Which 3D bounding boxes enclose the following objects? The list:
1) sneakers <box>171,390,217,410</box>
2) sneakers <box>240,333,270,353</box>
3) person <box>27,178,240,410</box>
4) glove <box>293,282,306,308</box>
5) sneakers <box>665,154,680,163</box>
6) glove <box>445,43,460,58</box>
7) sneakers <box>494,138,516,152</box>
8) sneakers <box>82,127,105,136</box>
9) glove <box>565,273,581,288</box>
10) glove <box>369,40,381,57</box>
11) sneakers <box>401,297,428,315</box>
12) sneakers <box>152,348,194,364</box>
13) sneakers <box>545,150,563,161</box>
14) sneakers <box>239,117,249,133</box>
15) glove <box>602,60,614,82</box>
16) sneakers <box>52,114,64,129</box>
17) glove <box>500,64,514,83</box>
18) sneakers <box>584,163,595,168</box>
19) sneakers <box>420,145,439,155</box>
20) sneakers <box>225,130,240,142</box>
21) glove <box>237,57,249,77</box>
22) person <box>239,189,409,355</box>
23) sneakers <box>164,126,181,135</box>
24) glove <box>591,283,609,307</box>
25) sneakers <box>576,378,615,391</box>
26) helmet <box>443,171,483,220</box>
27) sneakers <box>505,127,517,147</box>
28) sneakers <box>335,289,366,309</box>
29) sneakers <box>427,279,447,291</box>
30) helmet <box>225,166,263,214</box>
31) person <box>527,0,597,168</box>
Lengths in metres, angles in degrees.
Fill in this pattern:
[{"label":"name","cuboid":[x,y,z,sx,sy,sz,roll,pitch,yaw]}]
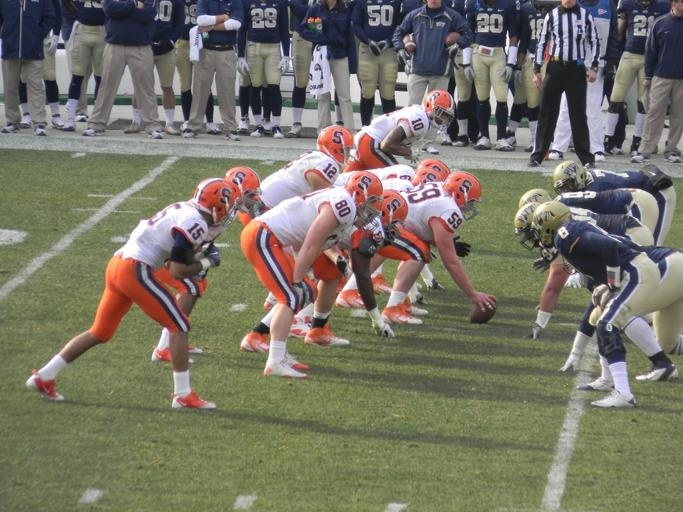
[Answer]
[{"label":"sneakers","cuboid":[-1.022,0.997,7.151,0.341,0.146,0.118,0,0,-5]},{"label":"sneakers","cuboid":[-0.661,0.676,7.950,0.286,0.132,0.106,7,34,-25]},{"label":"person","cuboid":[-1.370,0.227,7.173,1.199,1.554,0.446,3,8,0]},{"label":"glove","cuboid":[-0.294,0.287,7.596,0.047,0.166,0.094,-12,2,28]},{"label":"sneakers","cuboid":[4.144,-1.211,12.896,0.080,0.085,0.186,-5,5,-23]},{"label":"glove","cuboid":[1.407,-2.579,12.989,0.071,0.173,0.122,6,25,-47]},{"label":"sneakers","cuboid":[2.153,-1.444,13.487,0.113,0.132,0.296,-2,5,-22]},{"label":"sneakers","cuboid":[-3.228,-1.593,13.419,0.102,0.141,0.317,1,-3,18]},{"label":"glove","cuboid":[2.096,0.236,9.252,0.159,0.084,0.243,0,-9,5]},{"label":"glove","cuboid":[0.432,-2.656,13.167,0.146,0.189,0.162,8,10,27]},{"label":"sneakers","cuboid":[0.624,0.428,8.831,0.261,0.189,0.099,3,12,1]},{"label":"sneakers","cuboid":[-1.268,0.743,7.676,0.263,0.121,0.097,0,3,1]},{"label":"sneakers","cuboid":[2.679,-1.264,12.928,0.091,0.105,0.257,3,1,32]},{"label":"sneakers","cuboid":[-1.343,-1.794,14.267,0.090,0.131,0.281,0,6,2]},{"label":"glove","cuboid":[3.410,-2.375,13.198,0.136,0.126,0.438,25,-3,19]},{"label":"sneakers","cuboid":[-3.809,-1.803,13.913,0.140,0.179,0.414,-2,7,-22]},{"label":"glove","cuboid":[2.077,-2.274,12.872,0.067,0.197,0.142,16,0,3]},{"label":"sneakers","cuboid":[2.927,-1.054,12.088,0.116,0.063,0.151,-4,8,-22]},{"label":"sneakers","cuboid":[1.097,-1.338,12.920,0.249,0.106,0.146,17,15,36]},{"label":"sneakers","cuboid":[-1.442,-1.587,13.715,0.097,0.111,0.220,-13,16,-40]},{"label":"glove","cuboid":[-1.290,-2.442,13.416,0.094,0.204,0.153,-8,29,32]},{"label":"person","cuboid":[-0.248,0.103,7.951,1.186,1.533,1.046,3,7,20]},{"label":"sneakers","cuboid":[-2.291,-1.687,13.971,0.283,0.119,0.107,13,29,28]},{"label":"glove","cuboid":[1.890,0.291,7.489,0.052,0.143,0.099,13,9,-39]},{"label":"sneakers","cuboid":[1.864,0.940,7.559,0.273,0.117,0.103,2,-7,-1]},{"label":"helmet","cuboid":[1.045,-0.568,8.836,0.356,0.362,0.291,15,12,-2]},{"label":"sneakers","cuboid":[2.269,-1.568,13.723,0.105,0.139,0.329,1,46,-6]},{"label":"sneakers","cuboid":[0.072,0.385,8.964,0.296,0.137,0.109,4,4,0]},{"label":"sneakers","cuboid":[0.857,0.276,9.326,0.191,0.142,0.065,-12,18,-25]},{"label":"helmet","cuboid":[-0.805,-0.578,8.201,0.278,0.293,0.236,13,9,12]},{"label":"person","cuboid":[2.635,-1.983,12.078,0.781,1.953,0.541,5,8,10]}]
